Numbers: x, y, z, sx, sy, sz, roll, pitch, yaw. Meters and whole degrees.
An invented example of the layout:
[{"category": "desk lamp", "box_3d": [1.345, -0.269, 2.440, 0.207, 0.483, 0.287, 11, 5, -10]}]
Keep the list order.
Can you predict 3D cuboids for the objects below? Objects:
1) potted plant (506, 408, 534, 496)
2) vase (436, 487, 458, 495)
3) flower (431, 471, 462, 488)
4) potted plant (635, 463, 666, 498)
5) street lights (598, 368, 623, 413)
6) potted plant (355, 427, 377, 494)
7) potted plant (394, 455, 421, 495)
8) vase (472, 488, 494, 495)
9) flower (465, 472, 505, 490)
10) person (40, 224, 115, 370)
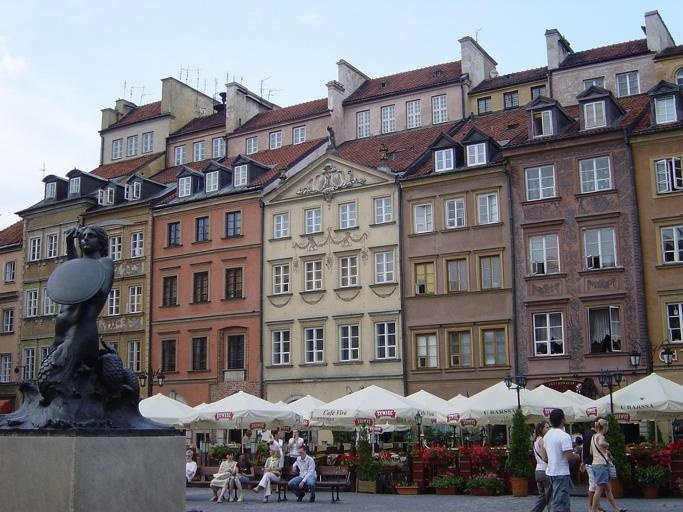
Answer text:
[{"category": "potted plant", "box_3d": [6.001, 6.590, 35.780, 0.703, 2.713, 0.550, -8, -9, 35]}, {"category": "vase", "box_3d": [3.602, 8.016, 36.569, 0.474, 0.164, 0.345, -3, -27, 14]}, {"category": "flower", "box_3d": [3.617, 7.694, 36.790, 0.738, 0.525, 1.118, 12, -20, -43]}, {"category": "potted plant", "box_3d": [9.982, 7.166, 34.203, 0.907, 1.015, 0.919, 6, -7, -11]}, {"category": "street lights", "box_3d": [9.757, 4.843, 38.572, 0.375, 2.077, 0.982, 16, -25, -25]}, {"category": "potted plant", "box_3d": [0.858, 7.442, 37.872, 0.798, 1.847, 0.805, -4, -14, 9]}, {"category": "potted plant", "box_3d": [2.440, 7.775, 37.713, 1.023, 1.561, 1.051, -1, -5, 9]}, {"category": "vase", "box_3d": [4.686, 7.836, 35.603, 0.457, 0.159, 0.335, -1, -19, 7]}, {"category": "flower", "box_3d": [4.865, 7.585, 35.901, 1.252, 0.685, 0.686, -2, -14, 1]}, {"category": "person", "box_3d": [-5.684, 0.789, 23.354, 1.351, 3.148, 0.737, 2, -14, -15]}]
